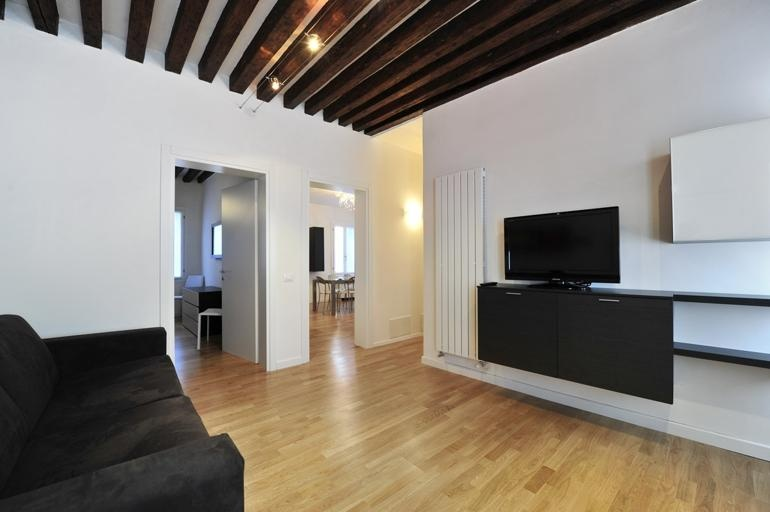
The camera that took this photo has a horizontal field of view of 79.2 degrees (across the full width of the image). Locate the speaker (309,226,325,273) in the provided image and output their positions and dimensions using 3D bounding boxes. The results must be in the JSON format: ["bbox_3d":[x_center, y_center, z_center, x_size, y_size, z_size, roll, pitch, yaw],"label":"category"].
[{"bbox_3d":[-1.633,-0.147,11.342,0.406,1.085,0.373,1,-8,-12],"label":"speaker"}]

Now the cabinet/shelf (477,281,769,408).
[{"bbox_3d":[1.964,0.793,5.042,1.940,1.005,0.534,3,5,39],"label":"cabinet/shelf"}]

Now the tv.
[{"bbox_3d":[1.873,-0.075,5.049,1.181,0.856,0.268,-3,-17,26],"label":"tv"}]

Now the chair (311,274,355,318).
[{"bbox_3d":[-1.240,0.867,10.489,0.893,0.538,0.924,-2,-3,29],"label":"chair"}]

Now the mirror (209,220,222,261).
[{"bbox_3d":[-3.131,-0.295,8.659,0.066,0.668,0.751,1,-2,-31],"label":"mirror"}]

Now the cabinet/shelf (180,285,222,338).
[{"bbox_3d":[-3.107,0.922,8.054,0.564,0.734,0.997,-2,6,-40],"label":"cabinet/shelf"}]
